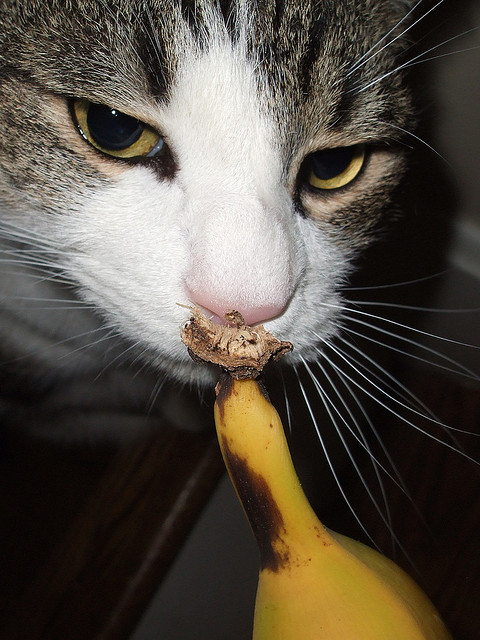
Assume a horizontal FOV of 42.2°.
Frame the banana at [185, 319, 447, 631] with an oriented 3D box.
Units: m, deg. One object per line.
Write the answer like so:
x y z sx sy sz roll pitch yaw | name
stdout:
0.059 0.170 0.655 0.163 0.121 0.403 -20 -94 40 | banana
